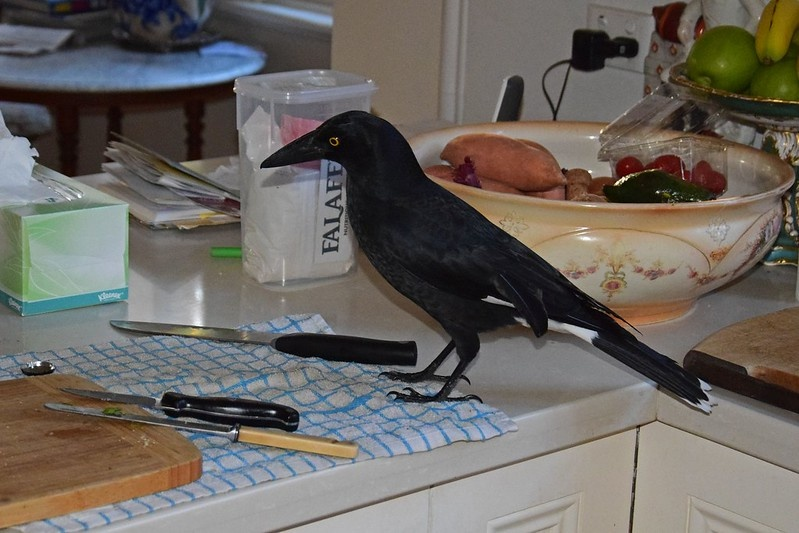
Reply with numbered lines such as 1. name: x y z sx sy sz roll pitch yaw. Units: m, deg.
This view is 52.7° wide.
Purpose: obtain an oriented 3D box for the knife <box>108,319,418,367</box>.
1. knife: -0.189 0.098 1.104 0.424 0.041 0.049 5 12 9

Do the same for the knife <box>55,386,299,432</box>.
1. knife: -0.260 0.157 0.936 0.305 0.033 0.036 3 18 16
